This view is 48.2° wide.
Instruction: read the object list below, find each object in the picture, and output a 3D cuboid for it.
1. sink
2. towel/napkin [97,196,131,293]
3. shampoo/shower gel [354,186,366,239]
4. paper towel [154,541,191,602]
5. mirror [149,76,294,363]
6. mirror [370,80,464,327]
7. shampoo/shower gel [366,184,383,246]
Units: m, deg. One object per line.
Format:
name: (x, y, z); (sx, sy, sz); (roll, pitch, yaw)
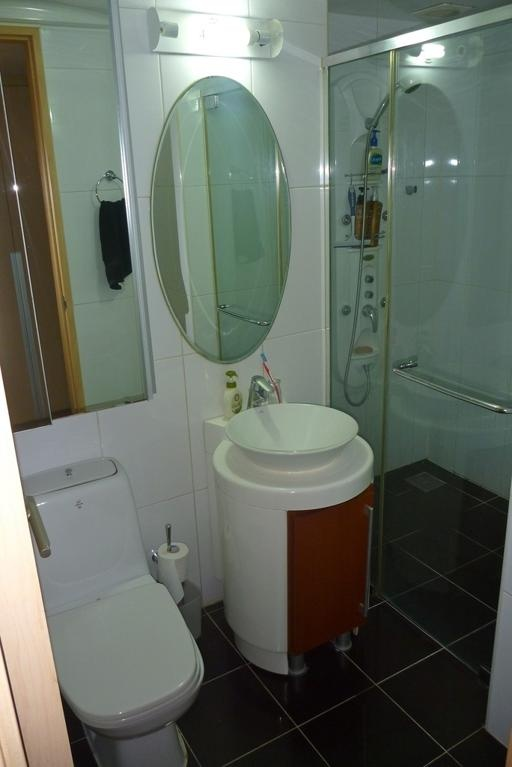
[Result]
sink: (0.122, 0.194, 1.965); (0.439, 0.144, 0.436); (-5, 20, 0)
towel/napkin: (-0.447, -0.456, 1.840); (0.093, 0.264, 0.027); (-24, 40, -35)
shampoo/shower gel: (0.384, -0.637, 2.142); (0.051, 0.264, 0.018); (0, -22, 8)
paper towel: (-0.303, 0.666, 2.183); (0.154, 0.291, 0.154); (-2, 17, -10)
mirror: (-0.111, -0.557, 2.059); (0.583, 0.976, 0.055); (-17, 21, -36)
mirror: (0.530, -0.602, 1.883); (0.176, 0.919, 0.016); (1, -8, 10)
shampoo/shower gel: (0.424, -0.580, 2.079); (0.053, 0.175, 0.017); (-4, 36, 0)
